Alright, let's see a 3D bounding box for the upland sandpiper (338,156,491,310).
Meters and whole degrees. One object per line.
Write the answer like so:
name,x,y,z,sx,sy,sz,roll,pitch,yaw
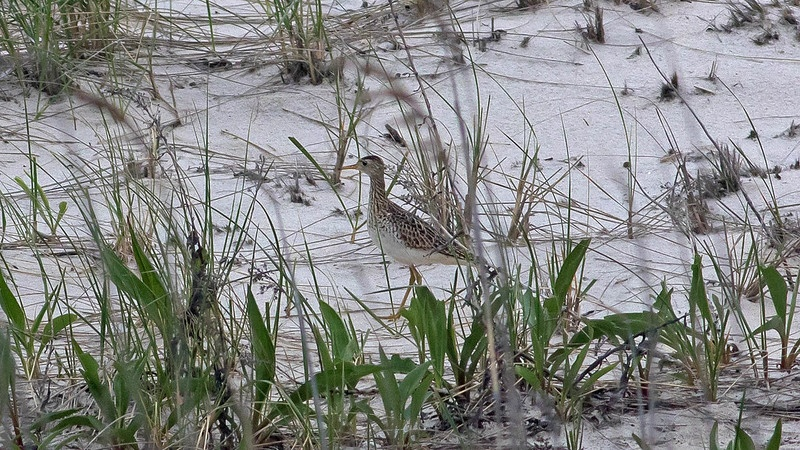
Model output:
upland sandpiper,0.133,0.086,4.928,1.145,0.840,0.369,7,-4,-25
